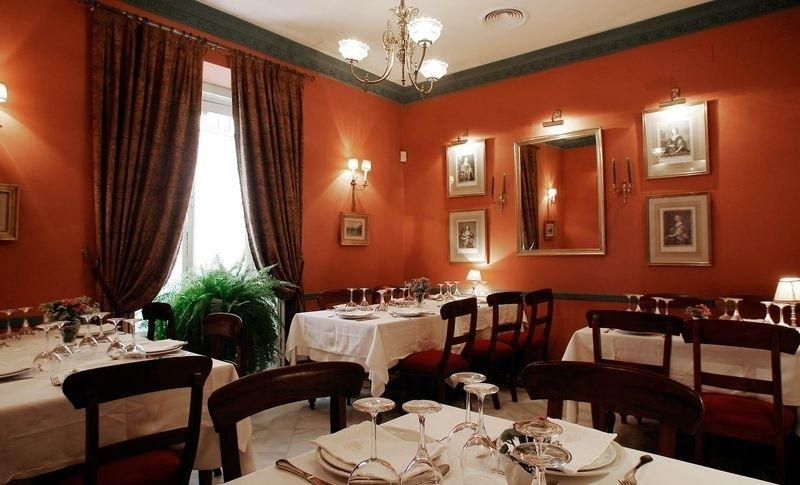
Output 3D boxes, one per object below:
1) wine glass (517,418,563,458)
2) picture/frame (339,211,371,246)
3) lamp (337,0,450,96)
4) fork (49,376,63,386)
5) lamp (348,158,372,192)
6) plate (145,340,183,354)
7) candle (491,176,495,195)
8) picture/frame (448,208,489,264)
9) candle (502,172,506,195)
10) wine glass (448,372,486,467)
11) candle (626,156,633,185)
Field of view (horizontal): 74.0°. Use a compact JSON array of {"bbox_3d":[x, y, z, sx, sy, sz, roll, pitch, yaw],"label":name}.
[{"bbox_3d":[0.806,1.145,3.134,0.192,0.143,0.186,0,-2,-11],"label":"wine glass"},{"bbox_3d":[-0.747,-0.229,8.677,0.063,0.518,0.610,0,-2,45],"label":"picture/frame"},{"bbox_3d":[-0.140,-2.705,7.234,1.220,1.510,1.106,-4,-22,19],"label":"lamp"},{"bbox_3d":[-2.739,1.102,4.235,0.088,0.029,0.169,4,2,-41],"label":"fork"},{"bbox_3d":[-0.662,-1.147,8.793,0.183,0.510,0.605,-1,0,28],"label":"lamp"},{"bbox_3d":[-2.141,0.945,4.790,0.193,0.055,0.183,2,0,-13],"label":"plate"},{"bbox_3d":[1.499,-0.930,8.584,0.054,0.253,0.018,-1,0,27],"label":"candle"},{"bbox_3d":[1.158,-0.110,8.771,0.917,1.111,0.082,-4,-9,33],"label":"picture/frame"},{"bbox_3d":[1.662,-0.949,8.481,0.066,0.298,0.027,-1,0,24],"label":"candle"},{"bbox_3d":[0.444,1.106,3.541,0.319,0.392,0.302,4,-36,-3],"label":"wine glass"},{"bbox_3d":[3.238,-1.028,7.493,0.077,0.318,0.039,-1,0,13],"label":"candle"}]
